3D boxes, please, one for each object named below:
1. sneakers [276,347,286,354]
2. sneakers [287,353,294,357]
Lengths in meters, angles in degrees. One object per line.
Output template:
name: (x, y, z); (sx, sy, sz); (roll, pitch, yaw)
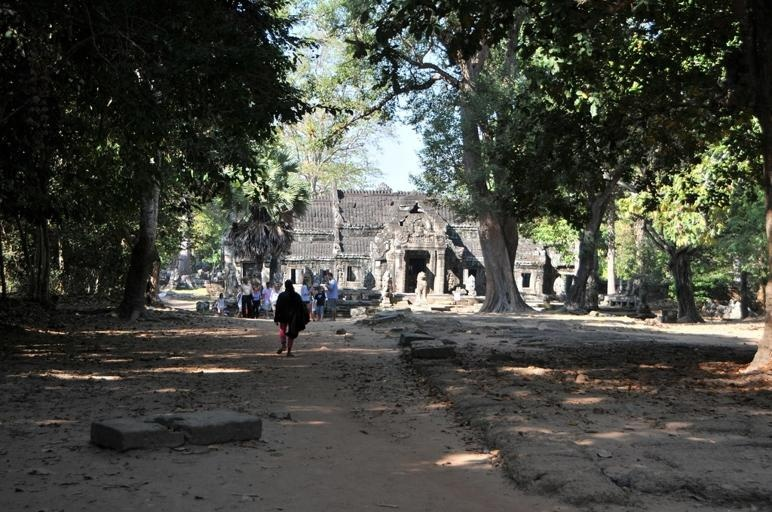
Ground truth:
sneakers: (-2.854, 2.548, 18.501); (0.232, 0.110, 0.160); (-8, 0, 25)
sneakers: (-2.543, 2.615, 18.127); (0.173, 0.069, 0.298); (1, 3, -11)
